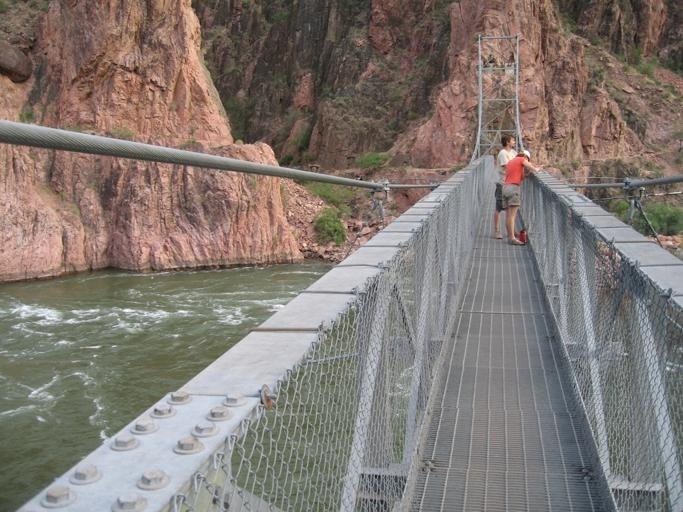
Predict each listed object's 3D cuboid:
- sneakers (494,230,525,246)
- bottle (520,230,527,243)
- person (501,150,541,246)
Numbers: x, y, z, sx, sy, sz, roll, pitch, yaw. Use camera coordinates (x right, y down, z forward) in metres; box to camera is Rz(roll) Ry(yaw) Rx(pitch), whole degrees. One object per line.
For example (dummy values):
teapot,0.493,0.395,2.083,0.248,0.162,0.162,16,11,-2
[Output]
sneakers,2.795,-0.303,10.918,0.522,0.250,0.187,-5,10,3
bottle,2.963,-0.319,10.825,0.111,0.221,0.119,-6,22,3
person,2.702,-0.850,10.176,0.467,1.469,1.225,1,8,13
